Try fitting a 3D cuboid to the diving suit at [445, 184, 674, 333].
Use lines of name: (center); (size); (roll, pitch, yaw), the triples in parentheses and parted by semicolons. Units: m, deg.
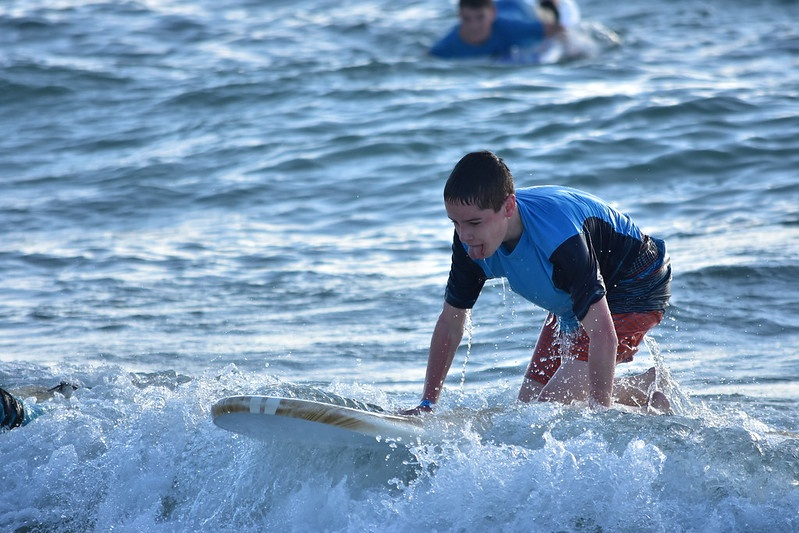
diving suit: (1.423, -0.103, 13.305); (1.592, 1.125, 1.829); (-11, 7, -38)
